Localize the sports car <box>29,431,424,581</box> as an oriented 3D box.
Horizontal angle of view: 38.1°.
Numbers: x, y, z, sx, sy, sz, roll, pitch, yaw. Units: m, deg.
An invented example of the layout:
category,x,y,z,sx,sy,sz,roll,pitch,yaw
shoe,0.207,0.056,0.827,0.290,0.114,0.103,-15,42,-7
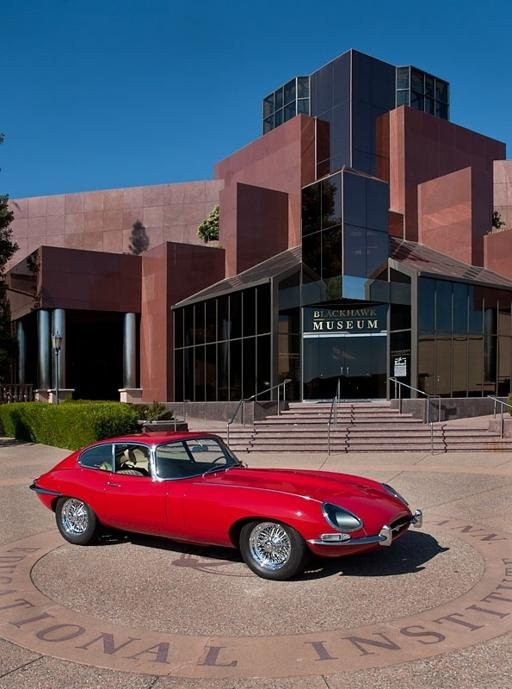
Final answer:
category,x,y,z,sx,sy,sz,roll,pitch,yaw
sports car,-0.386,1.540,7.405,3.704,1.214,1.204,-1,-1,33
